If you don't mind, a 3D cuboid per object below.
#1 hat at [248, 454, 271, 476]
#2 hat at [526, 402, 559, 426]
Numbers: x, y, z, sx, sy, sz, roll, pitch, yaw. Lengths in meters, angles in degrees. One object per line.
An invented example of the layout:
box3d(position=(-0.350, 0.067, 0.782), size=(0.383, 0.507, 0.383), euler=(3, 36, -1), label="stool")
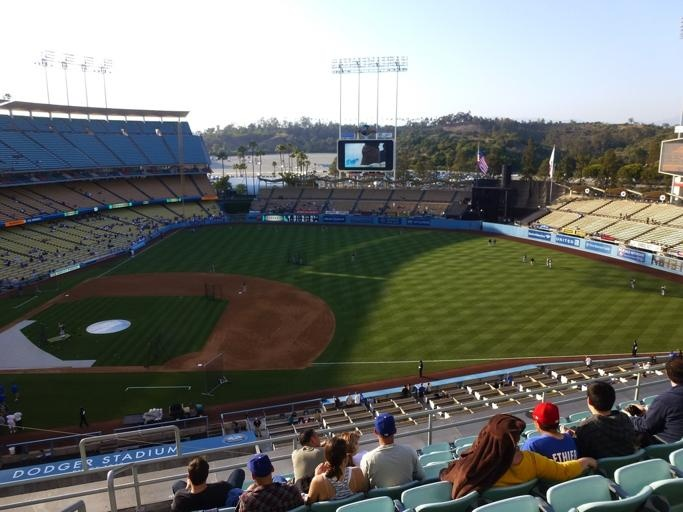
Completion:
box3d(position=(-1.394, 3.579, 9.140), size=(0.374, 0.204, 0.422), euler=(-5, 18, -12), label="hat")
box3d(position=(3.522, 2.697, 9.296), size=(0.451, 0.227, 0.498), euler=(-2, 9, 11), label="hat")
